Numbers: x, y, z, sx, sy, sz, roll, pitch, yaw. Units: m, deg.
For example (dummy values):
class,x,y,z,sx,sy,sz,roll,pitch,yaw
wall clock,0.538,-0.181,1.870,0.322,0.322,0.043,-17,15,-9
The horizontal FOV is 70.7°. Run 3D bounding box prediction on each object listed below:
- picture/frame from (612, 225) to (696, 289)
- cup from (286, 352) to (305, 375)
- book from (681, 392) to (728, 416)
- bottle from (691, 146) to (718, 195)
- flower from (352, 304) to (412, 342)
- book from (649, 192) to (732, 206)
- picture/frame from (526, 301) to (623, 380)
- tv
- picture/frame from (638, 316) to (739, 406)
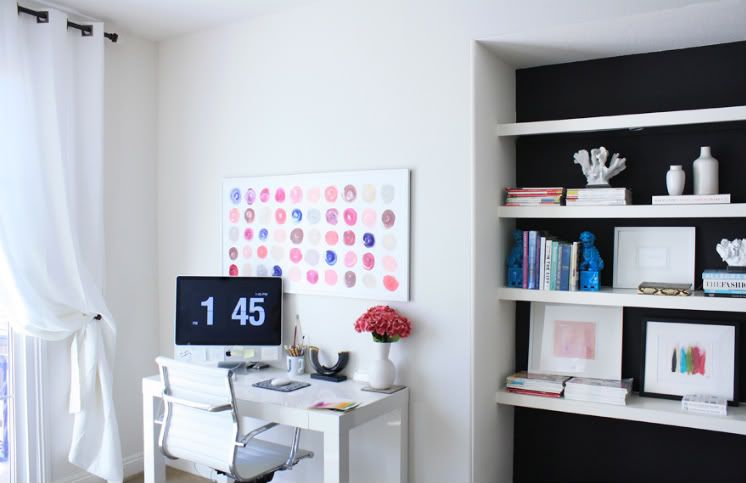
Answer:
class,x,y,z,sx,sy,sz,roll,pitch,yaw
picture/frame,1.801,0.103,3.347,0.387,0.377,0.019,2,1,22
cup,-0.552,0.884,3.815,0.141,0.118,0.109,2,0,42
book,1.959,0.973,3.138,0.220,0.119,0.162,3,1,28
bottle,2.009,-0.424,3.201,0.128,0.306,0.240,3,1,31
flower,0.062,0.536,3.419,0.280,0.238,0.279,2,9,7
book,1.865,-0.245,3.114,0.392,0.063,0.052,2,1,18
picture/frame,1.347,0.664,3.464,0.518,0.440,0.023,1,-2,18
tv,-1.027,0.573,3.817,0.597,0.466,0.064,1,-1,6
picture/frame,1.973,0.751,3.257,0.520,0.504,0.026,1,-2,21
